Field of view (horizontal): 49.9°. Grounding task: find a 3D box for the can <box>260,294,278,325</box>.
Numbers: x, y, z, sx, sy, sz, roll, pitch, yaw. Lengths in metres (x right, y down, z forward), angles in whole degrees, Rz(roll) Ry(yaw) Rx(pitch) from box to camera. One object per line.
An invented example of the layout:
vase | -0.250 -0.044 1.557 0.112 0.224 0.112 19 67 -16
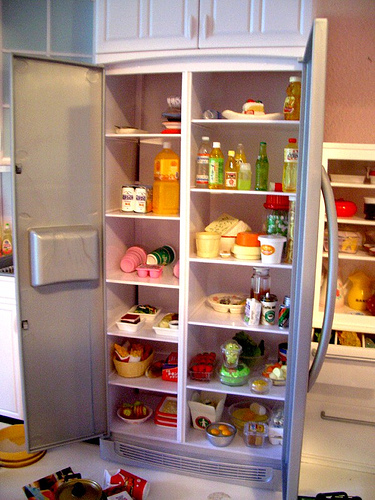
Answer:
can | 0.361 0.267 1.804 0.080 0.140 0.081 3 12 -1

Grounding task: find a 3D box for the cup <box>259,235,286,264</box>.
cup | 0.340 -0.003 1.693 0.098 0.118 0.104 2 11 0

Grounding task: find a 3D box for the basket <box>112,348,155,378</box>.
basket | -0.278 0.565 2.000 0.136 0.073 0.149 0 -1 1

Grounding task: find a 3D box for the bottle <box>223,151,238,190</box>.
bottle | 0.186 -0.330 1.730 0.058 0.138 0.053 0 9 0

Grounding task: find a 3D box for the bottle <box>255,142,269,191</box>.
bottle | 0.313 -0.351 1.702 0.051 0.199 0.146 2 10 9

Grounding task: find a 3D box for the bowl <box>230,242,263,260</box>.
bowl | 0.248 0.005 1.774 0.155 0.070 0.091 7 12 32

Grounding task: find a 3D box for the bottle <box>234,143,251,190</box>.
bottle | 0.235 -0.362 1.762 0.066 0.192 0.194 1 10 3

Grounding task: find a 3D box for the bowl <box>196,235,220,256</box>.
bowl | 0.086 -0.021 1.741 0.080 0.078 0.087 -1 12 0

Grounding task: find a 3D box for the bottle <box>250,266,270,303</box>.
bottle | 0.344 0.158 1.922 0.087 0.180 0.094 -2 17 1

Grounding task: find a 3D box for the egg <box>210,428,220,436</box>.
egg | 0.126 0.838 1.852 0.021 0.024 0.023 -3 5 -9

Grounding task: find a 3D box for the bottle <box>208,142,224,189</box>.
bottle | 0.121 -0.361 1.731 0.063 0.193 0.049 -1 9 -4

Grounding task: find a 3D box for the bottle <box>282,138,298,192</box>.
bottle | 0.409 -0.339 1.619 0.054 0.215 0.112 2 10 14

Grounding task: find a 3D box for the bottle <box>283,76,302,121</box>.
bottle | 0.409 -0.594 1.578 0.058 0.179 0.108 2 10 12

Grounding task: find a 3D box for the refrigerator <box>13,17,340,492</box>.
refrigerator | -0.021 0.122 1.745 1.209 1.896 1.087 4 10 21

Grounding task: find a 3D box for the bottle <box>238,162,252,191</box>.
bottle | 0.243 -0.317 1.728 0.054 0.116 0.116 1 10 7

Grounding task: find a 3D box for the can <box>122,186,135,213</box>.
can | -0.277 -0.231 1.853 0.083 0.119 0.035 7 12 36

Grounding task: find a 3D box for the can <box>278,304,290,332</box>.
can | 0.408 0.292 1.715 0.042 0.096 0.134 2 11 13

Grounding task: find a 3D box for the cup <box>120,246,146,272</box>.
cup | -0.262 0.035 2.015 0.106 0.117 0.116 -9 25 4

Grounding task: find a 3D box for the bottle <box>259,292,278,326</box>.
bottle | 0.359 0.261 1.807 0.089 0.143 0.092 0 8 0

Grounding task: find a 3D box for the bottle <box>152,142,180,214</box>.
bottle | -0.102 -0.329 1.858 0.125 0.321 0.079 -1 9 -6
